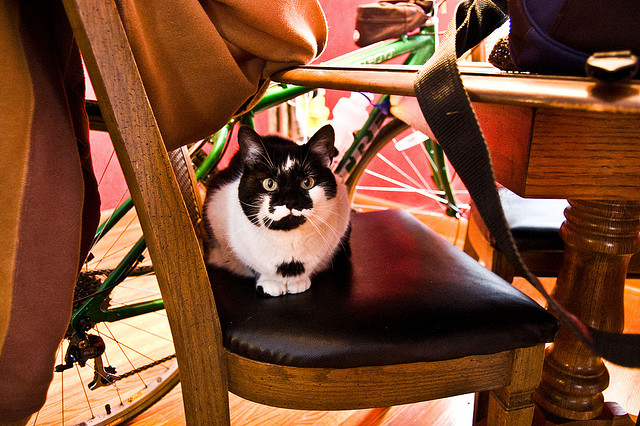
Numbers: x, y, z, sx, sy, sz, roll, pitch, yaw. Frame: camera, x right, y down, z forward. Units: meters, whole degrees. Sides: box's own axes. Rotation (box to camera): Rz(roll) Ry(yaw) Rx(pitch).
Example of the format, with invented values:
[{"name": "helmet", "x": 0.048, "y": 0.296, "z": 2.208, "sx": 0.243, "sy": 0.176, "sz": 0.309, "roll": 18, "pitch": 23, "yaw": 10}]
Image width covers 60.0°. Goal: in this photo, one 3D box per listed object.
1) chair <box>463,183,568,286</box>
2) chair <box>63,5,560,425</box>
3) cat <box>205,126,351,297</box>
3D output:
[{"name": "chair", "x": 0.401, "y": 0.044, "z": 1.111, "sx": 0.145, "sy": 0.219, "sz": 0.129, "roll": -2, "pitch": 51, "yaw": -5}, {"name": "chair", "x": 0.004, "y": -0.157, "z": 1.301, "sx": 0.730, "sy": 1.116, "sz": 0.674, "roll": -6, "pitch": 25, "yaw": -8}, {"name": "cat", "x": -0.101, "y": -0.035, "z": 1.281, "sx": 0.332, "sy": 0.345, "sz": 0.482, "roll": -1, "pitch": 19, "yaw": -7}]
